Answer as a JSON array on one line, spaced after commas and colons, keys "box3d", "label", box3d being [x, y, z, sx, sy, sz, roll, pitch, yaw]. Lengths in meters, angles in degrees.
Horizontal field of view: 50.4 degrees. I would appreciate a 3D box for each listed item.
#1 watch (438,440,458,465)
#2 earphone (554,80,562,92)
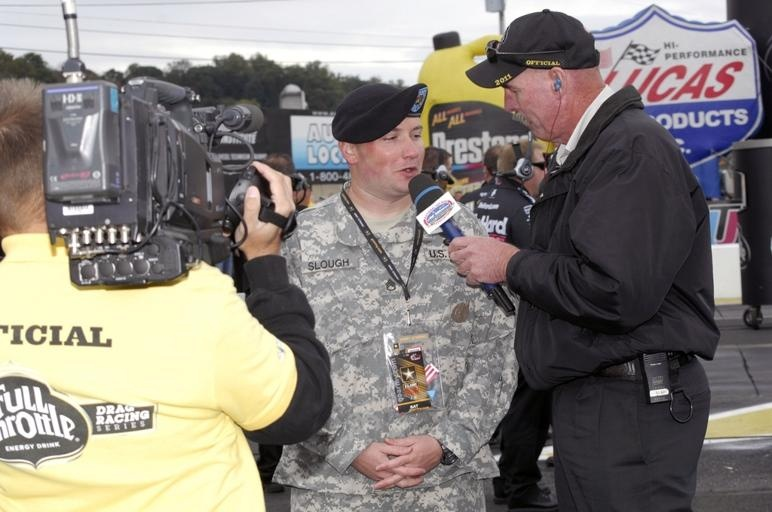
[{"box3d": [0.275, 0.865, 3.592, 0.104, 0.053, 0.081, 42, -6, 19], "label": "watch"}, {"box3d": [0.780, -0.766, 3.709, 0.037, 0.047, 0.016, 2, 2, 22], "label": "earphone"}]
